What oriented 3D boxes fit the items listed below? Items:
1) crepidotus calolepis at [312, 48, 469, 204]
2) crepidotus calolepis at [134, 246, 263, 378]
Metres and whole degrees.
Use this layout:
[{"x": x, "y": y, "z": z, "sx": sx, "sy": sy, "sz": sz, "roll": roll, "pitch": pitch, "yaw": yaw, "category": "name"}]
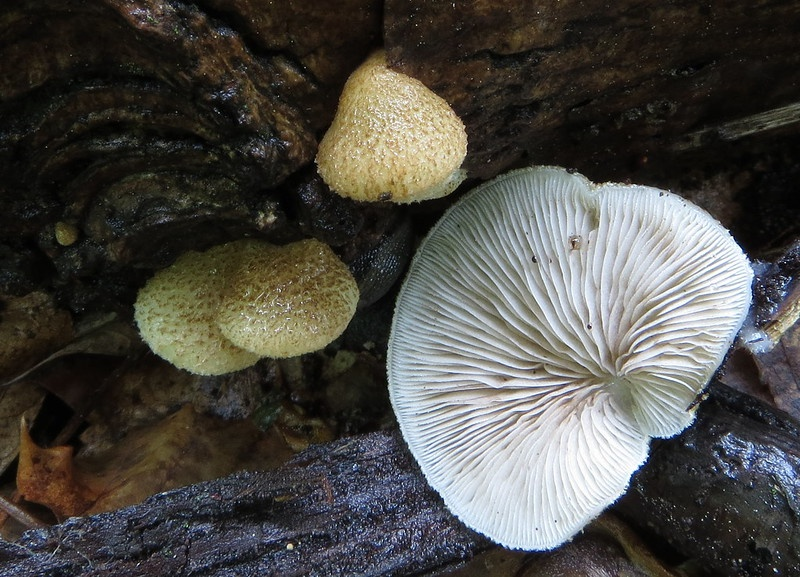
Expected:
[{"x": -0.018, "y": -0.949, "z": 4.635, "sx": 0.800, "sy": 0.802, "sz": 0.961, "roll": -3, "pitch": 19, "yaw": 3, "category": "crepidotus calolepis"}, {"x": -1.257, "y": 0.063, "z": 5.272, "sx": 0.660, "sy": 0.855, "sz": 0.826, "roll": -10, "pitch": 17, "yaw": -17, "category": "crepidotus calolepis"}]
